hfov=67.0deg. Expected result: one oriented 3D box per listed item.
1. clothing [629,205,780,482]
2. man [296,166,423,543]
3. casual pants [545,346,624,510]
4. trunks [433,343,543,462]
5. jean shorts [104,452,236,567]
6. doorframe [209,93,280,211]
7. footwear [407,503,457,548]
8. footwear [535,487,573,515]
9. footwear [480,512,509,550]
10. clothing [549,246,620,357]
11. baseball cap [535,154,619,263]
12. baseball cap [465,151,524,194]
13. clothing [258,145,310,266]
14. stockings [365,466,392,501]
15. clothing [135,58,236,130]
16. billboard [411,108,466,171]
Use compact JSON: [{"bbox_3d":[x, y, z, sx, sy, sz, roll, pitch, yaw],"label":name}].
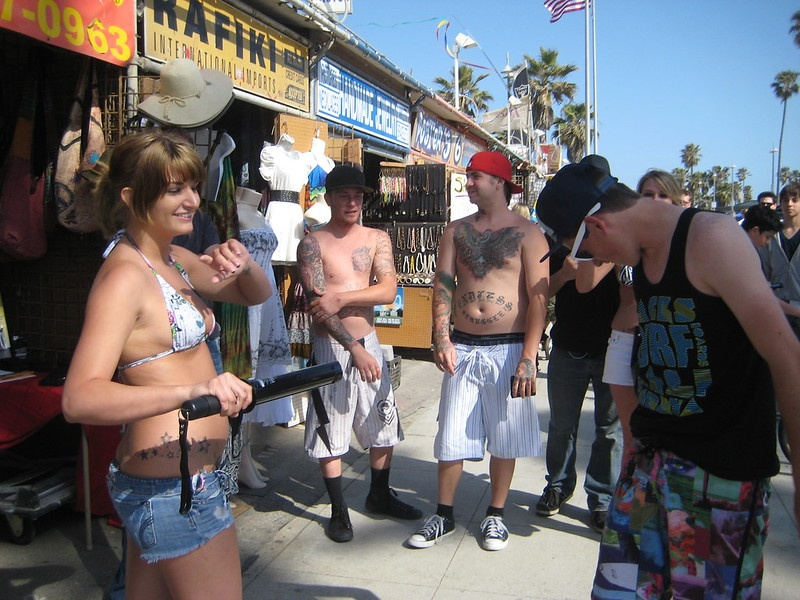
[{"bbox_3d":[1.167,0.157,2.298,0.533,0.992,0.223,3,8,24],"label":"clothing"},{"bbox_3d":[-0.275,0.367,4.203,0.754,2.568,0.680,-3,6,-32],"label":"man"},{"bbox_3d":[1.287,0.816,4.232,0.475,1.356,0.323,6,13,23],"label":"casual pants"},{"bbox_3d":[0.566,0.622,4.021,0.656,0.851,0.405,-2,6,8],"label":"trunks"},{"bbox_3d":[-0.881,0.800,2.337,0.445,0.353,0.338,-3,4,31],"label":"jean shorts"},{"bbox_3d":[-1.643,-1.398,6.284,1.002,1.175,0.286,12,-1,27],"label":"doorframe"},{"bbox_3d":[0.228,1.463,3.938,0.145,0.190,0.403,0,-2,38],"label":"footwear"},{"bbox_3d":[1.056,1.413,4.211,0.109,0.136,0.337,-3,-6,31],"label":"footwear"},{"bbox_3d":[0.607,1.478,3.874,0.184,0.173,0.221,2,8,11],"label":"footwear"},{"bbox_3d":[1.289,0.074,4.312,0.394,0.856,0.588,10,-1,-18],"label":"clothing"},{"bbox_3d":[0.697,-0.419,2.556,0.294,0.404,0.280,27,16,-6],"label":"baseball cap"},{"bbox_3d":[0.637,-0.814,3.980,0.341,0.188,0.245,23,-5,-33],"label":"baseball cap"},{"bbox_3d":[-1.204,-0.962,5.783,0.345,1.214,0.566,1,14,8],"label":"clothing"},{"bbox_3d":[-0.147,1.291,4.260,0.225,0.296,0.133,0,4,-10],"label":"stockings"},{"bbox_3d":[-1.245,-1.202,3.610,0.484,0.490,0.182,-31,-16,-15],"label":"clothing"},{"bbox_3d":[0.830,-3.225,12.391,0.040,0.767,2.830,8,7,26],"label":"billboard"}]
